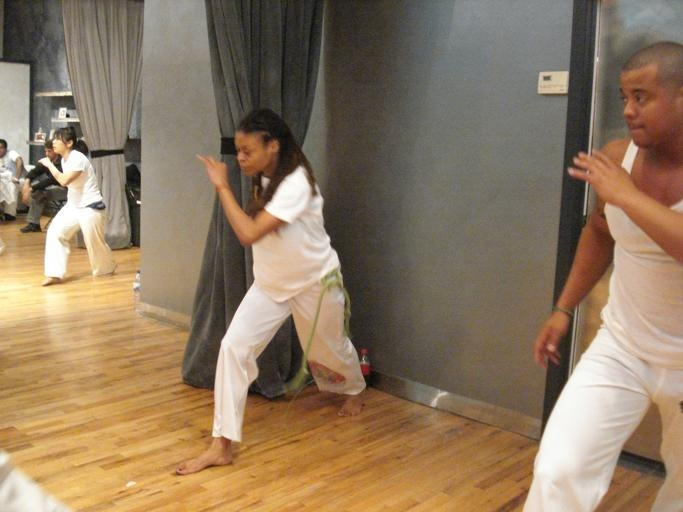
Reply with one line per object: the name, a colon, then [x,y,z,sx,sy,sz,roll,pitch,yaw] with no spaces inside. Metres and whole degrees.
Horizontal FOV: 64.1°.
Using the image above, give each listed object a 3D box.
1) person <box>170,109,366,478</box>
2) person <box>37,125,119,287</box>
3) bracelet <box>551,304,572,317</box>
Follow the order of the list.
person: [-0.338,0.104,2.648,0.356,1.594,1.035,12,15,43]
person: [-2.856,-0.559,5.791,0.510,1.592,0.752,12,15,43]
bracelet: [0.699,0.174,1.730,0.047,0.019,0.041,22,-2,12]
